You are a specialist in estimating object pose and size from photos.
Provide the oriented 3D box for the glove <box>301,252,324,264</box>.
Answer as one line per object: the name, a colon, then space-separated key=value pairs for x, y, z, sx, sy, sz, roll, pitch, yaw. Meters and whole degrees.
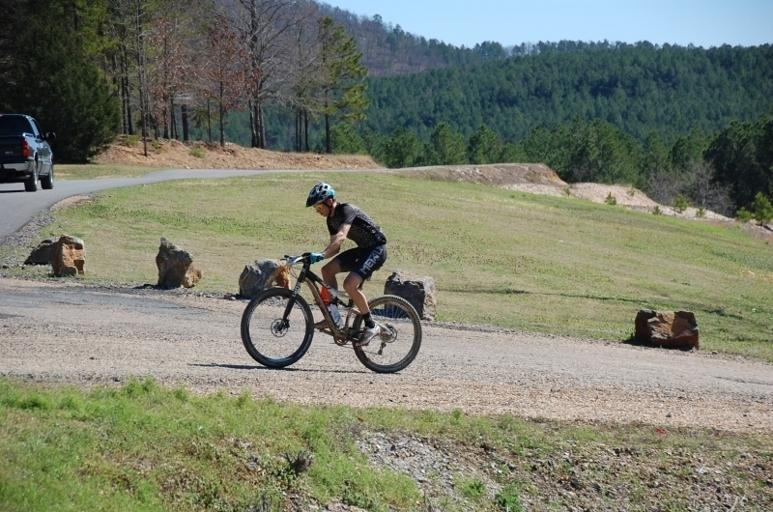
glove: x=-3.508 y=-0.008 z=51.164 sx=0.721 sy=0.278 sz=0.558 roll=9 pitch=-32 yaw=16
